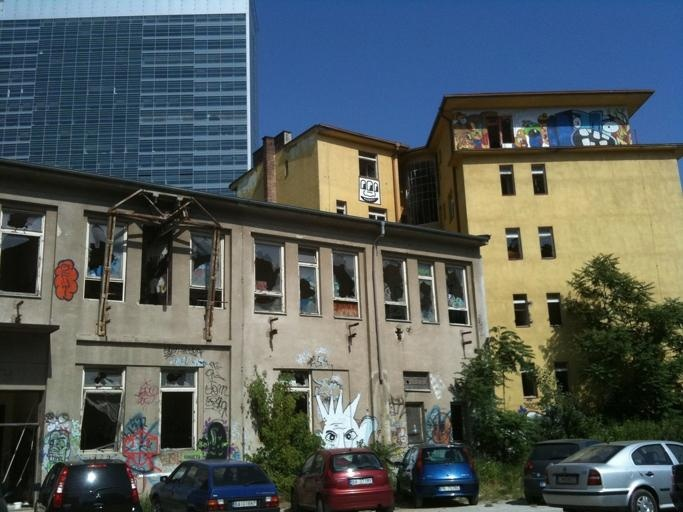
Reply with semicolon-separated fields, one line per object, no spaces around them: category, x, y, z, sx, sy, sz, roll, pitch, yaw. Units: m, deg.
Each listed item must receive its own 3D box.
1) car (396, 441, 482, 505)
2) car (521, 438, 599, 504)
car;3.052;6.983;23.352;1.778;1.404;2.919;1;-12;-3
car;6.436;6.573;22.080;1.515;1.271;2.646;-7;-10;29
